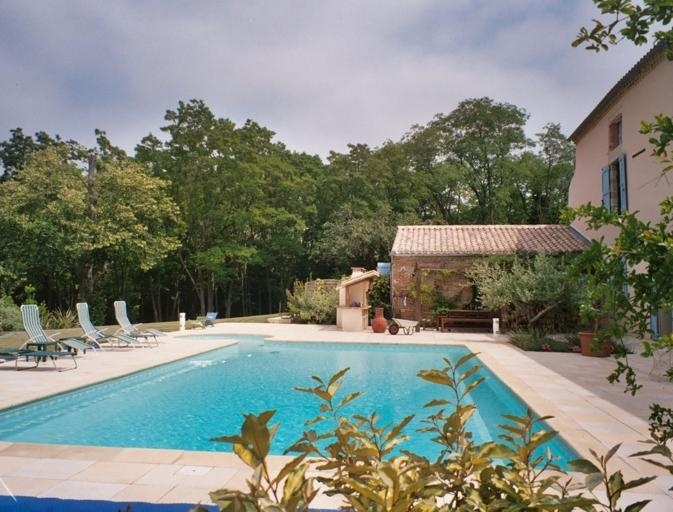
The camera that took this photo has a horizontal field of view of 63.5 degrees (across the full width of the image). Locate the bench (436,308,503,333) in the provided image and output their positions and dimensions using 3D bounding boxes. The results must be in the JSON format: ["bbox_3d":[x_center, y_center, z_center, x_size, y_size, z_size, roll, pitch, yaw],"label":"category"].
[{"bbox_3d":[4.438,2.198,18.518,2.059,0.751,1.303,-4,-5,27],"label":"bench"}]

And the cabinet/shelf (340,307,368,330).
[{"bbox_3d":[0.547,2.205,19.196,0.710,0.649,1.340,1,-2,12],"label":"cabinet/shelf"}]

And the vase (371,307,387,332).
[{"bbox_3d":[1.446,2.194,18.440,0.443,0.793,0.378,-1,-3,2],"label":"vase"}]

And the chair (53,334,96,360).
[{"bbox_3d":[-5.906,1.963,12.167,0.751,0.479,1.338,4,-1,-45],"label":"chair"}]

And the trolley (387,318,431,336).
[{"bbox_3d":[2.427,2.304,18.020,1.265,0.590,0.617,2,-9,3],"label":"trolley"}]
